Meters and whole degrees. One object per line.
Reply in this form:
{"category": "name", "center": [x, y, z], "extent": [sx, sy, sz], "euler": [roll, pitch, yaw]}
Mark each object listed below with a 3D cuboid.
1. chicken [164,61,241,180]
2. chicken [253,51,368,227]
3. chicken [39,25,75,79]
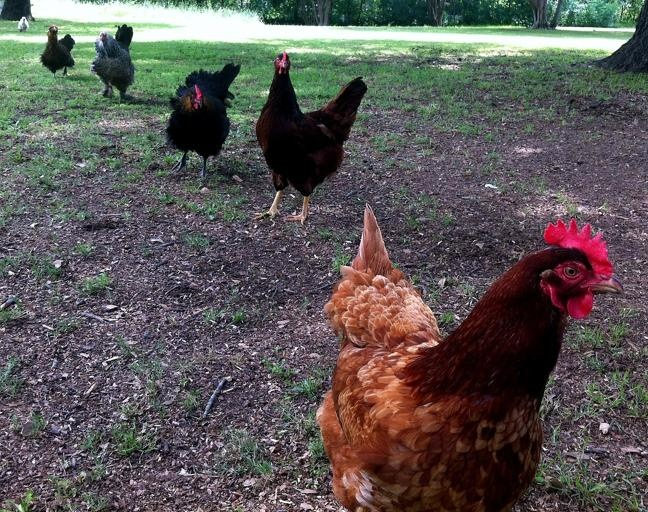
{"category": "chicken", "center": [-1.866, -1.999, 9.465], "extent": [0.904, 1.338, 1.595], "euler": [-2, 24, -8]}
{"category": "chicken", "center": [-0.238, -1.541, 8.141], "extent": [1.378, 2.045, 0.703], "euler": [-17, 30, -35]}
{"category": "chicken", "center": [-6.124, -4.644, 14.374], "extent": [0.505, 1.063, 0.919], "euler": [-1, 24, -5]}
